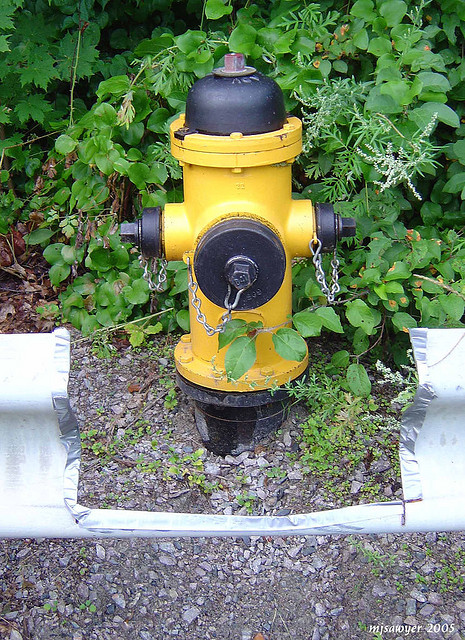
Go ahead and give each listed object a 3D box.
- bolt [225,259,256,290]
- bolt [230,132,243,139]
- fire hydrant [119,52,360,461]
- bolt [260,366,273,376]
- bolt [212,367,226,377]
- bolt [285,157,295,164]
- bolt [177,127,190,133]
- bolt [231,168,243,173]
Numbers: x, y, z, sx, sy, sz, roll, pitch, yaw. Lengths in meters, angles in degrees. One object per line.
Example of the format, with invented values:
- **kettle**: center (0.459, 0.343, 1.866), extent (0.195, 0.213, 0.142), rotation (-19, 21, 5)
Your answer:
- **bolt**: center (0.024, -0.137, 1.592), extent (0.068, 0.063, 0.035), rotation (20, 27, -10)
- **bolt**: center (0.011, -0.519, 1.561), extent (0.034, 0.015, 0.040), rotation (0, 21, 2)
- **fire hydrant**: center (-0.018, -0.122, 1.812), extent (0.671, 1.359, 0.568), rotation (11, 26, 27)
- **bolt**: center (0.115, 0.167, 1.857), extent (0.031, 0.007, 0.027), rotation (0, 38, -2)
- **bolt**: center (-0.048, 0.169, 1.868), extent (0.035, 0.029, 0.029), rotation (4, 21, 3)
- **bolt**: center (0.176, -0.479, 1.670), extent (0.019, 0.007, 0.024), rotation (-3, -2, -7)
- **bolt**: center (-0.147, -0.576, 1.673), extent (0.038, 0.008, 0.036), rotation (0, 35, 0)
- **bolt**: center (0.014, -0.429, 1.591), extent (0.032, 0.014, 0.024), rotation (-1, 22, -1)
